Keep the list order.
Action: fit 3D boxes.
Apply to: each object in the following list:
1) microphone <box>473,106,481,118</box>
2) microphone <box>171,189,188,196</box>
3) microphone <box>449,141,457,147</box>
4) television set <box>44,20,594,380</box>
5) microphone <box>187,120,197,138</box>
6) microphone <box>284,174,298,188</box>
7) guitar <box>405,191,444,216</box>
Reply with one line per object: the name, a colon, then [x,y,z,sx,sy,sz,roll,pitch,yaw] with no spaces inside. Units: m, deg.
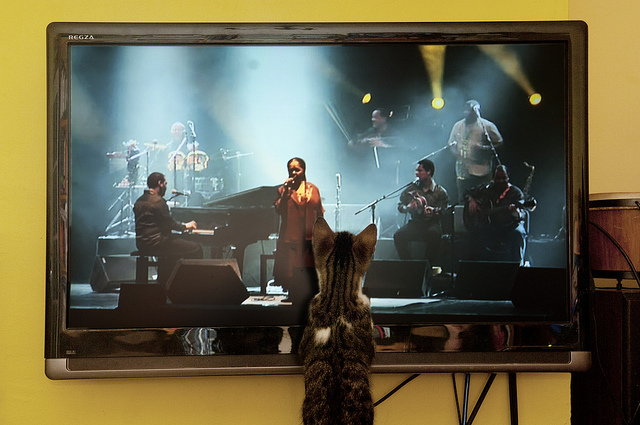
microphone: [0.817,-0.526,3.493,0.028,0.055,0.021,0,-11,-39]
microphone: [-0.740,-0.107,3.469,0.057,0.013,0.012,22,28,-5]
microphone: [0.694,-0.360,3.489,0.037,0.020,0.011,-19,8,-13]
television set: [-0.037,-0.086,3.507,2.860,1.750,0.129,-1,-1,3]
microphone: [-0.669,-0.436,3.458,0.040,0.104,0.027,-25,15,-13]
microphone: [-0.155,-0.162,3.469,0.016,0.068,0.065,37,15,-7]
guitar: [0.548,-0.048,3.502,0.183,0.097,0.043,21,25,8]
